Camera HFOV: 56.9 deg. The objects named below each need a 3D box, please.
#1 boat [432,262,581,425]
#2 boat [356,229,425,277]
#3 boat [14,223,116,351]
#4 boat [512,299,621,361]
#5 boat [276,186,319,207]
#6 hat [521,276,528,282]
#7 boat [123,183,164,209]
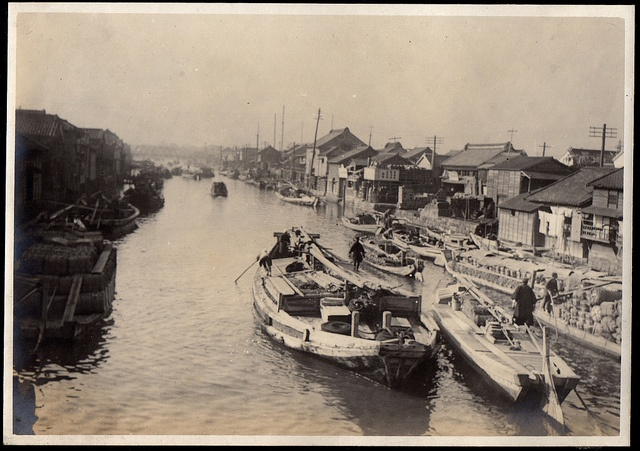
[{"bbox_3d":[3.681,2.423,12.046,1.642,1.901,5.364,2,13,-10],"label":"boat"},{"bbox_3d":[2.040,0.958,17.550,0.805,0.621,2.460,-12,12,-14],"label":"boat"},{"bbox_3d":[-5.710,1.096,13.028,2.187,1.258,3.691,9,13,-11],"label":"boat"},{"bbox_3d":[5.380,2.291,12.861,0.620,0.388,2.180,-25,44,-28],"label":"boat"},{"bbox_3d":[-1.249,-1.382,28.744,0.843,0.635,4.191,-4,16,-19],"label":"boat"},{"bbox_3d":[4.752,1.246,13.700,0.195,0.096,0.248,-6,9,12],"label":"hat"},{"bbox_3d":[-7.029,-1.128,23.874,1.055,0.671,2.109,1,5,-8],"label":"boat"}]
